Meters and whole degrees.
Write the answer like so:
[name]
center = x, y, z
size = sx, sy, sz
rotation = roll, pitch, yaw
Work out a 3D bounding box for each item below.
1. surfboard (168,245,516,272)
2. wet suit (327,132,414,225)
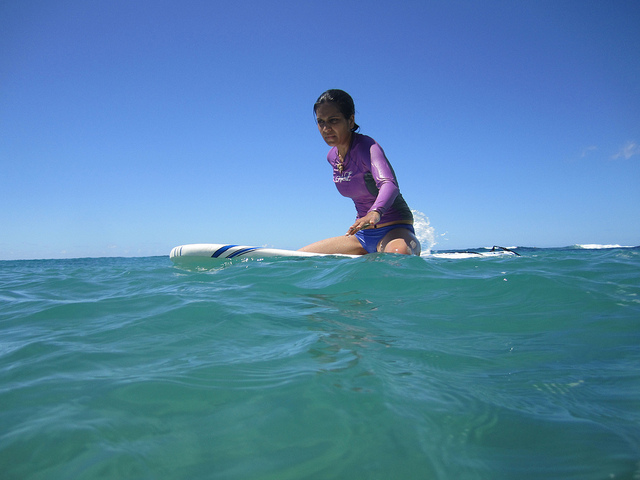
[surfboard]
center = 0.240, 0.186, 4.168
size = 4.023, 0.216, 0.498
rotation = 0, -1, 10
[wet suit]
center = 0.416, -0.590, 4.101
size = 0.547, 0.932, 1.427
rotation = -1, 12, -3
